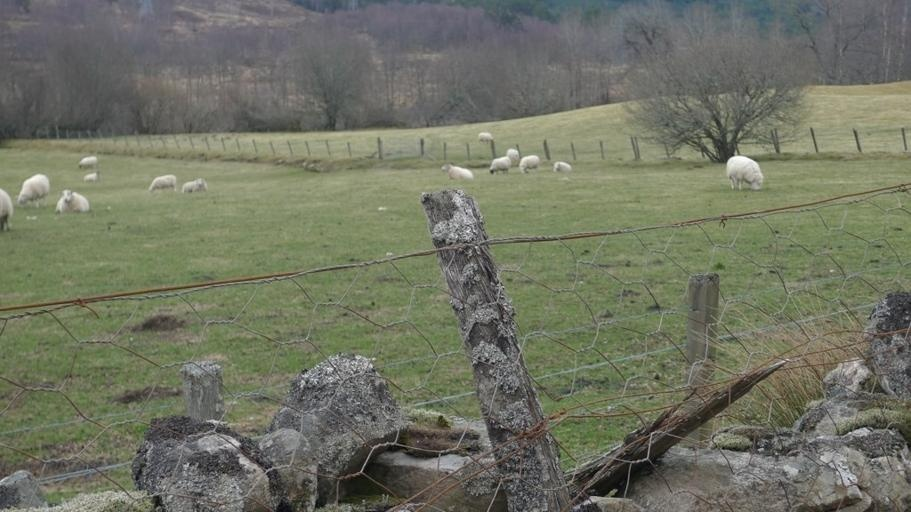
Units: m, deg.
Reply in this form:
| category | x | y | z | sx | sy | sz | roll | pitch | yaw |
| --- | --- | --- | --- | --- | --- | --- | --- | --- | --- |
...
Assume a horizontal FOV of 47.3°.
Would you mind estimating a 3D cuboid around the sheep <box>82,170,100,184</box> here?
| category | x | y | z | sx | sy | sz | roll | pitch | yaw |
| --- | --- | --- | --- | --- | --- | --- | --- | --- | --- |
| sheep | -10.529 | -2.297 | 29.953 | 0.531 | 0.257 | 0.196 | -2 | 6 | 18 |

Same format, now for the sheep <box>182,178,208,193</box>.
| category | x | y | z | sx | sy | sz | roll | pitch | yaw |
| --- | --- | --- | --- | --- | --- | --- | --- | --- | --- |
| sheep | -7.647 | -2.071 | 30.481 | 0.882 | 0.361 | 0.478 | -12 | 10 | -30 |

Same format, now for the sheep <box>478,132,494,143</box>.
| category | x | y | z | sx | sy | sz | roll | pitch | yaw |
| --- | --- | --- | --- | --- | --- | --- | --- | --- | --- |
| sheep | 1.045 | -4.248 | 36.819 | 0.548 | 0.346 | 0.279 | -5 | 18 | -2 |

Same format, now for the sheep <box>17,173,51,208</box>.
| category | x | y | z | sx | sy | sz | roll | pitch | yaw |
| --- | --- | --- | --- | --- | --- | --- | --- | --- | --- |
| sheep | -11.510 | -1.816 | 28.453 | 0.453 | 0.601 | 1.156 | 8 | 18 | 6 |

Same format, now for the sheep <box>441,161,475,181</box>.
| category | x | y | z | sx | sy | sz | roll | pitch | yaw |
| --- | --- | --- | --- | --- | --- | --- | --- | --- | --- |
| sheep | -0.006 | -2.703 | 33.394 | 1.077 | 0.562 | 0.647 | 0 | 11 | 37 |

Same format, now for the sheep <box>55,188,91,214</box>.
| category | x | y | z | sx | sy | sz | roll | pitch | yaw |
| --- | --- | --- | --- | --- | --- | --- | --- | --- | --- |
| sheep | -10.455 | -1.482 | 28.390 | 0.517 | 0.478 | 0.979 | 0 | 1 | 4 |

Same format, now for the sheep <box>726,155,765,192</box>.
| category | x | y | z | sx | sy | sz | roll | pitch | yaw |
| --- | --- | --- | --- | --- | --- | --- | --- | --- | --- |
| sheep | 8.420 | -2.388 | 30.422 | 0.647 | 0.966 | 1.673 | -5 | 21 | -18 |

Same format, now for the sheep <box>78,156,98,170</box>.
| category | x | y | z | sx | sy | sz | roll | pitch | yaw |
| --- | --- | --- | --- | --- | --- | --- | --- | --- | --- |
| sheep | -10.555 | -2.748 | 30.077 | 0.267 | 0.357 | 0.724 | -2 | 10 | 29 |

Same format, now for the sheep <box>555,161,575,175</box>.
| category | x | y | z | sx | sy | sz | roll | pitch | yaw |
| --- | --- | --- | --- | --- | --- | --- | --- | --- | --- |
| sheep | 3.533 | -2.943 | 34.213 | 0.672 | 0.363 | 0.321 | -11 | 19 | -42 |
